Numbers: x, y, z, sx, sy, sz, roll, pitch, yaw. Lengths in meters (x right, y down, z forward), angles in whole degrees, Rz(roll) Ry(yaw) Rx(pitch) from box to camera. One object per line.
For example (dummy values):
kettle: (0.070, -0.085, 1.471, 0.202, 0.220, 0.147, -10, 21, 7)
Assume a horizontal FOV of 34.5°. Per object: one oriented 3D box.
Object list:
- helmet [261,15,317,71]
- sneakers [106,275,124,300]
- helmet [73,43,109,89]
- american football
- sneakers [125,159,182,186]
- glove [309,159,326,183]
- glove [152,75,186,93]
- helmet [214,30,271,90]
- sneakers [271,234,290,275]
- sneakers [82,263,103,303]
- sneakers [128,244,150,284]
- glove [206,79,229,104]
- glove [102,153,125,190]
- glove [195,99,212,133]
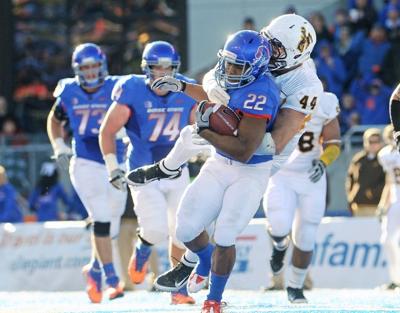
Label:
helmet: (0.857, -1.122, 6.553, 0.566, 0.445, 0.451, -15, -5, -13)
sneakers: (-0.958, 1.481, 7.188, 0.266, 0.278, 0.161, 4, -15, -22)
helmet: (-1.255, -1.104, 7.462, 0.372, 0.441, 0.511, -12, 45, 1)
american football: (0.218, -0.320, 5.966, 0.315, 0.210, 0.217, 32, 10, 25)
sneakers: (-0.471, 0.190, 6.404, 0.603, 0.230, 0.273, -10, -9, 6)
glove: (1.256, 0.156, 6.983, 0.068, 0.227, 0.165, 29, 8, -31)
glove: (-0.299, -0.709, 6.380, 0.235, 0.107, 0.182, 2, -5, -3)
helmet: (0.407, -0.914, 6.087, 0.560, 0.447, 0.437, -32, 55, -25)
sneakers: (0.890, 1.105, 7.205, 0.162, 0.505, 0.196, 4, -9, 3)
sneakers: (-1.198, 1.422, 7.286, 0.163, 0.458, 0.176, -5, -11, -39)
sneakers: (-0.688, 1.193, 7.174, 0.167, 0.494, 0.190, 4, 9, -15)
glove: (0.158, -0.576, 5.989, 0.209, 0.185, 0.113, 9, 11, 43)
glove: (-0.921, 0.163, 6.919, 0.243, 0.403, 0.234, 1, 8, -9)
glove: (0.016, -0.373, 5.930, 0.099, 0.259, 0.174, 11, -1, -19)
